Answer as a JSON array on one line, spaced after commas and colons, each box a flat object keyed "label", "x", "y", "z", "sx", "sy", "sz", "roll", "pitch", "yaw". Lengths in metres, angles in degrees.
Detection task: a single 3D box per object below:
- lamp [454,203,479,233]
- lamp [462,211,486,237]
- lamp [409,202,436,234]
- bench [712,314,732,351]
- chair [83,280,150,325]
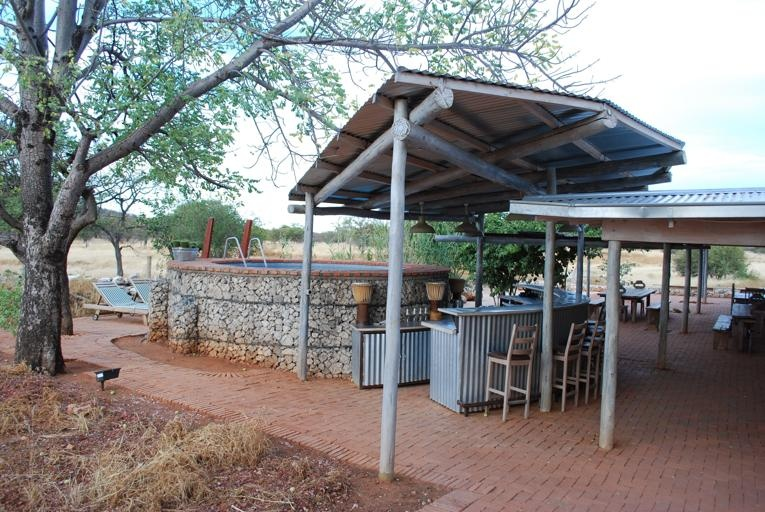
[{"label": "lamp", "x": 1.908, "y": -0.868, "z": 12.667, "sx": 0.496, "sy": 0.732, "sz": 1.715, "roll": 4, "pitch": 13, "yaw": 9}, {"label": "lamp", "x": 2.000, "y": -0.695, "z": 12.378, "sx": 0.726, "sy": 0.754, "sz": 0.743, "roll": 0, "pitch": 3, "yaw": 7}, {"label": "lamp", "x": 0.734, "y": -0.841, "z": 12.096, "sx": 0.721, "sy": 0.745, "sz": 0.727, "roll": 0, "pitch": -1, "yaw": 6}, {"label": "bench", "x": 9.133, "y": 2.046, "z": 15.087, "sx": 0.415, "sy": 0.691, "sz": 2.117, "roll": 11, "pitch": 16, "yaw": 32}, {"label": "chair", "x": -8.001, "y": 1.480, "z": 17.447, "sx": 2.098, "sy": 0.861, "sz": 1.145, "roll": 12, "pitch": 6, "yaw": 8}]
